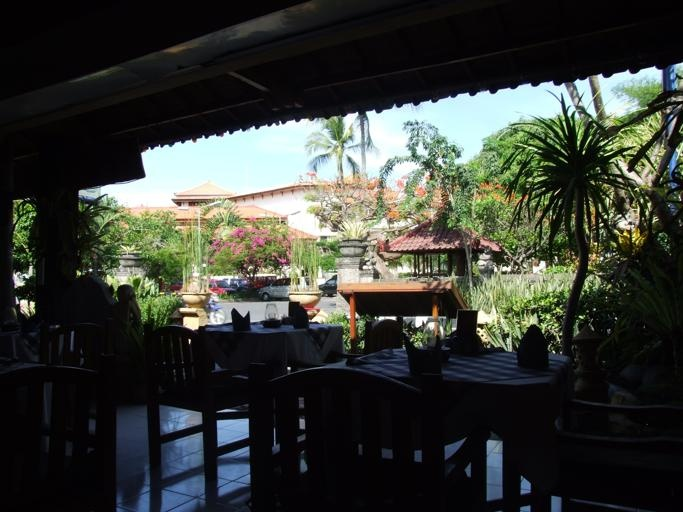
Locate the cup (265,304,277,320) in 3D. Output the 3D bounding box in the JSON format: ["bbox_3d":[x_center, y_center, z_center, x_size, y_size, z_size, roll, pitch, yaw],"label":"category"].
[{"bbox_3d":[-0.674,0.522,4.937,0.124,0.177,0.125,-1,-1,0],"label":"cup"}]

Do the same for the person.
[{"bbox_3d":[-2.287,0.971,5.574,0.292,1.354,0.309,-5,-6,7],"label":"person"}]

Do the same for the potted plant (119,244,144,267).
[{"bbox_3d":[-6.888,-0.032,17.080,0.855,0.859,0.878,-2,-1,35],"label":"potted plant"}]
